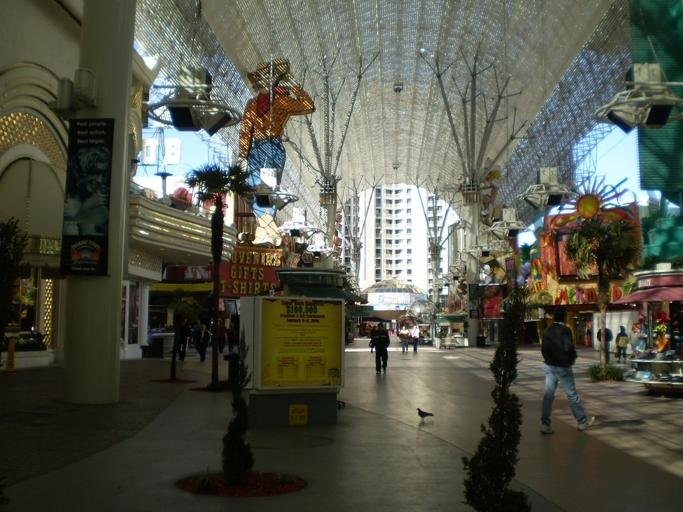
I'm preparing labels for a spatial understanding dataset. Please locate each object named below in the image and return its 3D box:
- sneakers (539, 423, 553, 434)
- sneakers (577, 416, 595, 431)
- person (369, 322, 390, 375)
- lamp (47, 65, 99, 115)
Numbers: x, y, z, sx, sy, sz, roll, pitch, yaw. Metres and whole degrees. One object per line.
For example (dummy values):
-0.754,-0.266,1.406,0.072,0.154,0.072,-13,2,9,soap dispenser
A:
3.619,3.034,10.487,0.289,0.233,0.117,-1,2,-26,sneakers
4.451,3.043,10.831,0.121,0.181,0.391,12,40,46,sneakers
1.548,3.491,23.171,0.651,2.042,0.572,0,19,5,person
-6.039,-3.529,13.373,0.801,0.671,0.529,6,-4,-19,lamp
